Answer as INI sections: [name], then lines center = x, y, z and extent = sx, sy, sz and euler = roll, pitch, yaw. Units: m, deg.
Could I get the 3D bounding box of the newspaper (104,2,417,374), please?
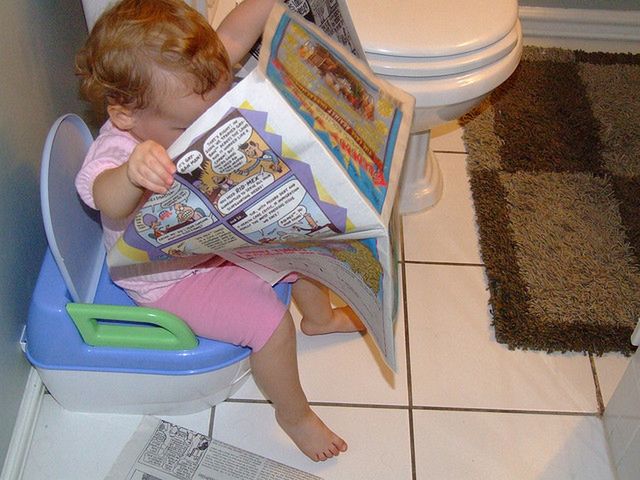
[newspaper]
center = -0.054, -0.087, 0.808
extent = 0.419, 0.451, 0.396
euler = 12, 68, 14

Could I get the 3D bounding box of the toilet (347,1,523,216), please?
[toilet]
center = 0.279, -0.314, 1.276
extent = 0.345, 0.590, 0.258
euler = -28, 64, -4
